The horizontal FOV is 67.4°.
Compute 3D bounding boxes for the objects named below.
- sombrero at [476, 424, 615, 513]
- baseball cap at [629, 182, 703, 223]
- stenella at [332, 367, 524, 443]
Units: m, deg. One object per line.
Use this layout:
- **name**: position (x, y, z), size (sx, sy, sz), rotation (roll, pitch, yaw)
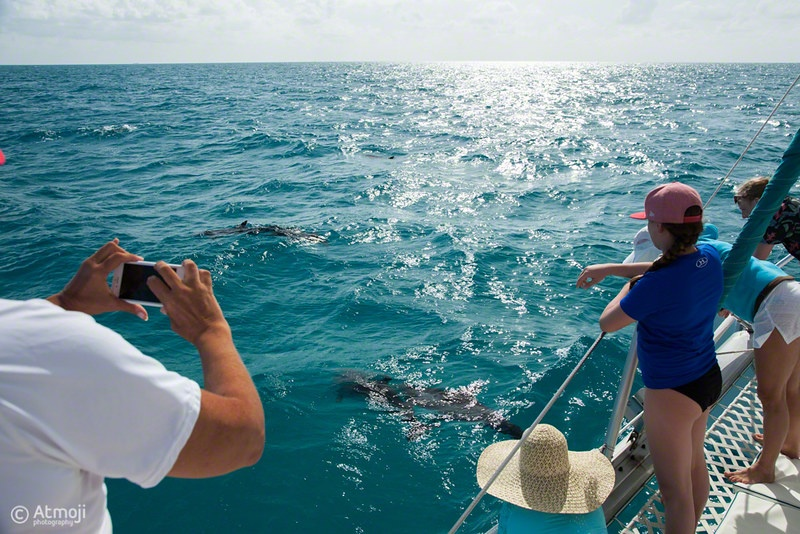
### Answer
- **sombrero**: position (0.979, 1.426, 4.192), size (0.909, 0.259, 0.821), rotation (-7, 11, -20)
- **baseball cap**: position (1.753, -0.434, 4.028), size (0.305, 0.172, 0.392), rotation (-6, 10, -20)
- **stenella**: position (0.235, 1.650, 7.226), size (2.524, 0.444, 1.100), rotation (9, 2, -4)
